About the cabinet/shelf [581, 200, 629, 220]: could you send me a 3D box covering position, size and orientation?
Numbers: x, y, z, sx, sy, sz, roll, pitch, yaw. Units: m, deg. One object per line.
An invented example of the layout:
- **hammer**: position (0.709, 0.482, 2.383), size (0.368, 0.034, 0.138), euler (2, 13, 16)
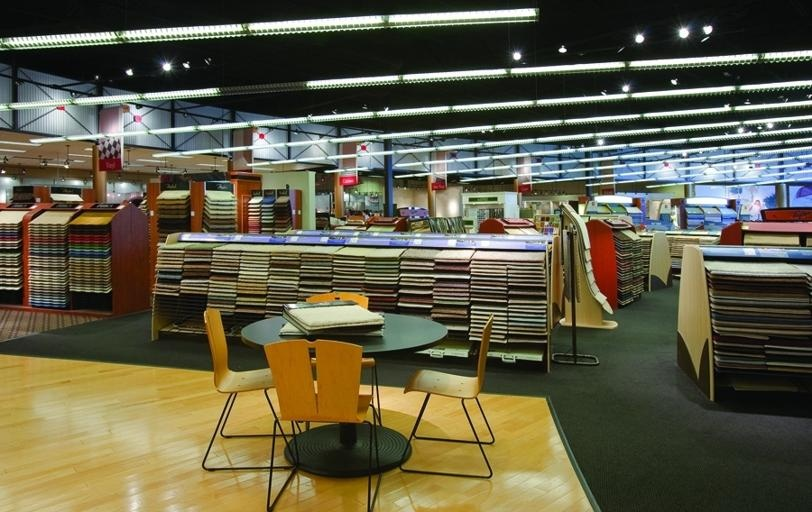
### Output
- **cabinet/shelf**: position (5.385, -1.301, 16.174), size (1.003, 0.350, 7.484), euler (1, 7, 19)

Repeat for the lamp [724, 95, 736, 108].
- **lamp**: position (10.570, -5.032, 19.585), size (0.280, 0.261, 1.131), euler (2, 7, 27)

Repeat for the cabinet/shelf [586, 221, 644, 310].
- **cabinet/shelf**: position (3.941, 0.203, 11.454), size (1.054, 1.578, 1.752), euler (-5, 1, 29)

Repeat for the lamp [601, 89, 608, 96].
- **lamp**: position (6.024, -4.968, 18.280), size (0.209, 0.165, 0.502), euler (1, 7, 18)

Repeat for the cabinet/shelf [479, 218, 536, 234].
- **cabinet/shelf**: position (2.141, -0.624, 12.601), size (1.049, 0.263, 1.224), euler (-1, 6, 0)

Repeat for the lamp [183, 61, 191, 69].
- **lamp**: position (-5.997, -5.191, 16.327), size (0.181, 0.084, 0.242), euler (-3, 7, -28)

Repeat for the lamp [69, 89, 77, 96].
- **lamp**: position (-10.314, -5.021, 18.521), size (0.227, 0.079, 0.227), euler (2, -1, -21)

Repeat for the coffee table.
- **coffee table**: position (-0.599, 1.769, 6.587), size (2.110, 1.163, 2.021), euler (1, 7, 9)

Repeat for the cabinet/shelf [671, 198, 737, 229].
- **cabinet/shelf**: position (9.720, -1.416, 19.576), size (1.849, 1.206, 1.725), euler (1, 2, 13)

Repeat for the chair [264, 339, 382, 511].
- **chair**: position (-0.961, 1.810, 6.824), size (1.289, 1.881, 1.005), euler (-2, 7, -5)

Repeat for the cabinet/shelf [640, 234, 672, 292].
- **cabinet/shelf**: position (5.792, 0.105, 13.918), size (0.640, 1.364, 1.080), euler (2, 7, 25)

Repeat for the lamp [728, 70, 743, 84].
- **lamp**: position (9.238, -5.028, 16.896), size (0.392, 0.248, 0.858), euler (3, 7, 31)
